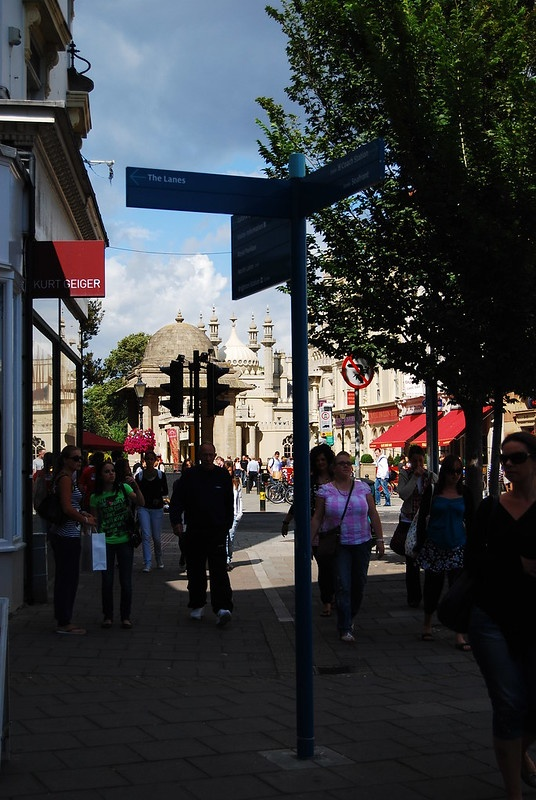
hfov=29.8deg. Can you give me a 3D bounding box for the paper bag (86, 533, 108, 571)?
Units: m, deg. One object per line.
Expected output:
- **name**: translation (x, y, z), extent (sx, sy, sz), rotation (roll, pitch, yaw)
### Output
- **paper bag**: translation (-1.385, 1.221, 8.074), extent (0.113, 0.309, 0.321), rotation (-2, -1, -13)

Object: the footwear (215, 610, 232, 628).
- **footwear**: translation (-0.388, 1.940, 8.935), extent (0.074, 0.094, 0.205), rotation (4, -34, -8)

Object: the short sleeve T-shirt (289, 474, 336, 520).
- **short sleeve T-shirt**: translation (0.372, 0.925, 9.571), extent (0.352, 0.454, 0.725), rotation (1, -13, -6)

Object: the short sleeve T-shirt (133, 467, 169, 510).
- **short sleeve T-shirt**: translation (-1.584, 1.229, 13.804), extent (0.443, 0.604, 0.581), rotation (0, -11, -8)
